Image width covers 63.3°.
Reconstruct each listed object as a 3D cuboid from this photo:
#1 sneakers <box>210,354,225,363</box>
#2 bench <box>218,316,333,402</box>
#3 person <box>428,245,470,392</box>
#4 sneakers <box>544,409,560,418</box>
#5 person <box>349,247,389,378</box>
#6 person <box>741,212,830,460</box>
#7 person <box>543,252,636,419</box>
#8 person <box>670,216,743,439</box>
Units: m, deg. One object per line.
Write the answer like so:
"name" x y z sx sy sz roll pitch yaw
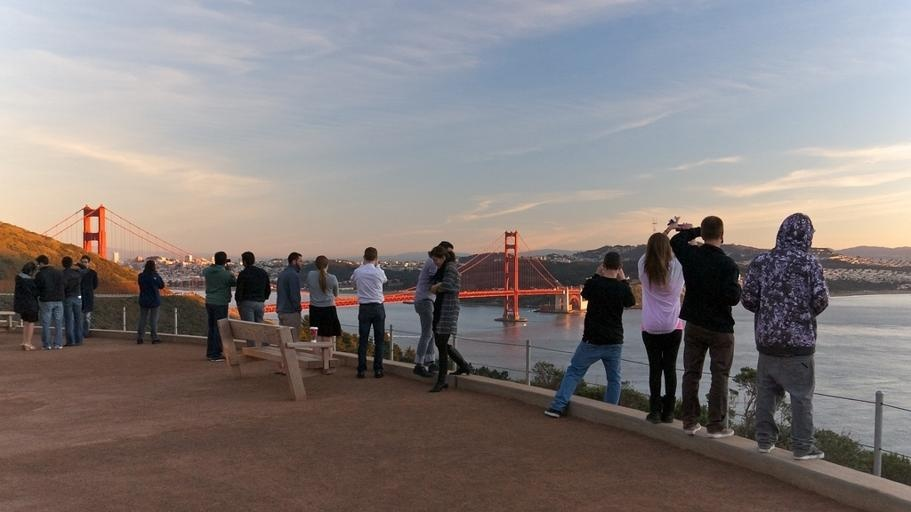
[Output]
"sneakers" -4.729 2.033 14.692 0.124 0.131 0.344 -1 1 37
"bench" -3.033 1.700 12.770 1.169 1.032 2.491 4 -3 -40
"person" -0.120 1.002 11.893 0.614 2.359 0.748 -2 12 0
"sneakers" 1.411 2.288 10.773 0.101 0.088 0.224 5 1 -35
"person" -1.486 0.957 12.882 0.587 2.466 1.577 -3 12 -7
"person" 4.090 1.002 9.171 1.046 3.087 0.755 4 14 24
"person" 2.005 1.092 10.690 1.082 2.450 1.038 1 12 11
"person" 3.237 0.895 9.700 0.828 2.968 0.912 -4 13 -12
